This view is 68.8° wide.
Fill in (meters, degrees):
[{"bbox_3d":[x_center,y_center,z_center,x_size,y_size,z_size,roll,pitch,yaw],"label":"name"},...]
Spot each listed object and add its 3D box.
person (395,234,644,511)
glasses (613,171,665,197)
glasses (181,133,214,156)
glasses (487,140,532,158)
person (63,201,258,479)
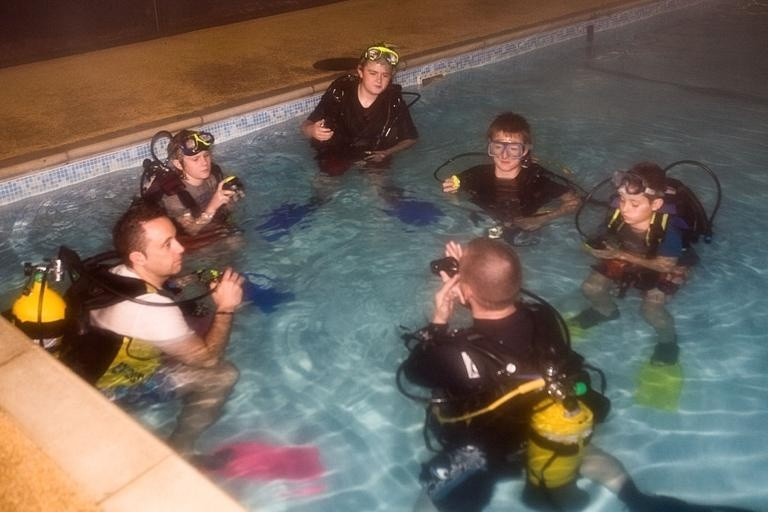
[{"bbox_3d":[0.730,0.699,3.507,1.225,1.286,1.231,-9,37,-2],"label":"person"},{"bbox_3d":[1.994,-0.568,4.396,0.304,0.111,0.199,12,10,-7],"label":"glasses"},{"bbox_3d":[-1.676,-1.016,5.043,0.217,0.091,0.272,-25,26,-35],"label":"glasses"},{"bbox_3d":[1.149,-1.011,5.268,0.312,0.149,0.077,3,40,12],"label":"glasses"},{"bbox_3d":[-1.520,0.619,3.891,1.584,1.886,0.972,-5,51,-26],"label":"person"}]
